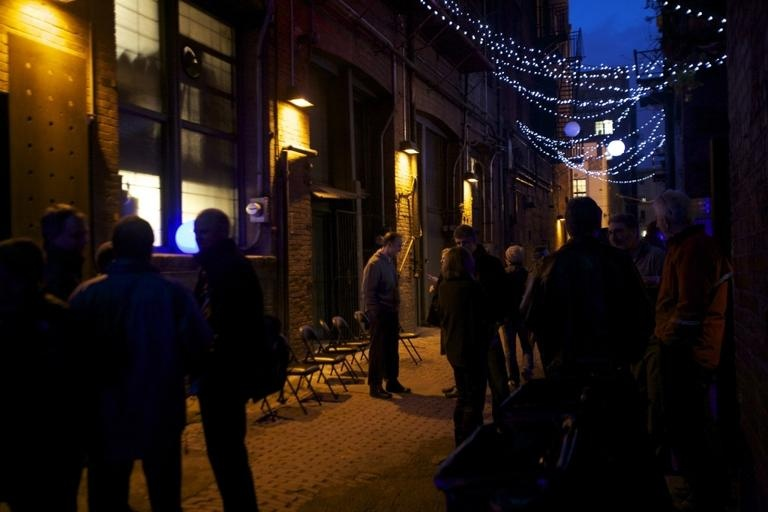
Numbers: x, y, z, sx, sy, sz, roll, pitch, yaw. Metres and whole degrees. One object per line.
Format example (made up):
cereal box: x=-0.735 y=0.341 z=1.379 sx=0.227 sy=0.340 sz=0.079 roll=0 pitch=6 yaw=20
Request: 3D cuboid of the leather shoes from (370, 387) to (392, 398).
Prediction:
leather shoes: x=-0.047 y=1.941 z=11.211 sx=0.322 sy=0.258 sz=0.135 roll=-1 pitch=-2 yaw=5

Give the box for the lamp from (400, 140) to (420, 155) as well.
lamp: x=0.555 y=-2.398 z=17.400 sx=0.272 sy=0.199 sz=0.385 roll=-6 pitch=-4 yaw=25

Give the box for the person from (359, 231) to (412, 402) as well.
person: x=0.033 y=0.869 z=11.421 sx=0.587 sy=2.346 sz=0.892 roll=1 pitch=8 yaw=18

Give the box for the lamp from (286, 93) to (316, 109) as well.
lamp: x=-1.433 y=-2.665 z=13.558 sx=0.416 sy=0.214 sz=0.757 roll=-2 pitch=9 yaw=-3
